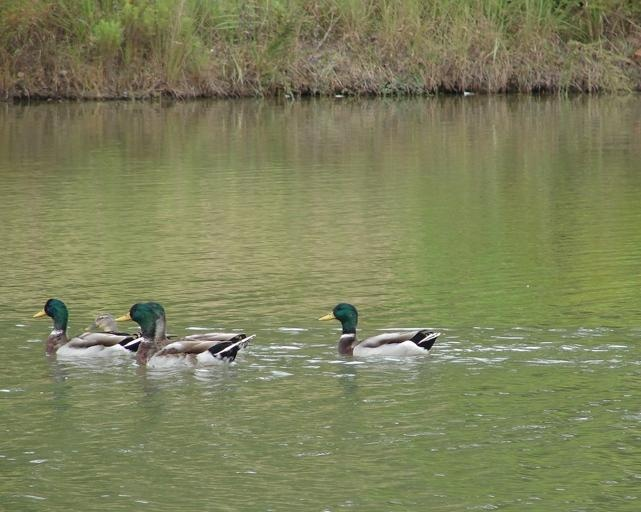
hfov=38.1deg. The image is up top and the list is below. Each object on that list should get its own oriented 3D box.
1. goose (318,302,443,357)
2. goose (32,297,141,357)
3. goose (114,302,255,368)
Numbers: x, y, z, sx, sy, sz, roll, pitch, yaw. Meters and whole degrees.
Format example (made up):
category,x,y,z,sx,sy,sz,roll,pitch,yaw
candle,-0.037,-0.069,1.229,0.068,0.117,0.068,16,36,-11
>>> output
category,x,y,z,sx,sy,sz,roll,pitch,yaw
goose,0.737,0.838,10.290,1.473,0.620,0.454,-8,1,29
goose,-2.543,0.860,10.560,1.488,0.618,0.424,0,0,14
goose,-1.509,0.899,9.951,1.901,0.691,0.547,1,-3,14
